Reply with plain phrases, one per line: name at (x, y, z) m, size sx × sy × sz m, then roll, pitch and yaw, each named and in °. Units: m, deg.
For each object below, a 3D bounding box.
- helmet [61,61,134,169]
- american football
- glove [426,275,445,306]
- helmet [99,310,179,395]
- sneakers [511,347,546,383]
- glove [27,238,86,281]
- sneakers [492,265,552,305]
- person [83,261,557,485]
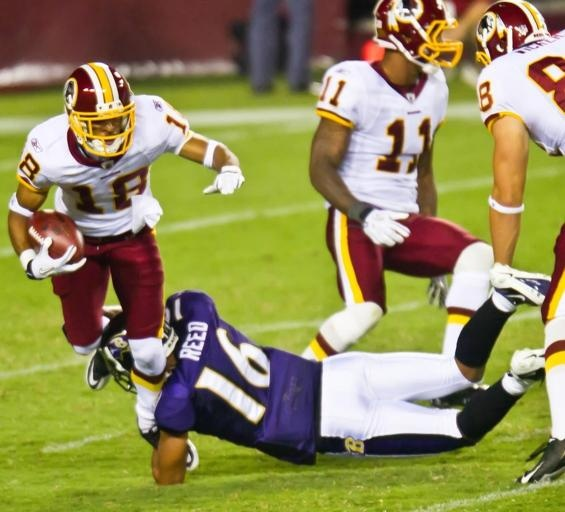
helmet at (-0.710, -0.602, 3.381) m, size 0.246 × 0.298 × 0.350 m, roll -16°, pitch 42°, yaw -32°
american football at (-0.937, -0.088, 3.430) m, size 0.214 × 0.159 × 0.134 m, roll 12°, pitch -11°, yaw 30°
glove at (0.703, 0.163, 3.990) m, size 0.046 × 0.147 × 0.103 m, roll 2°, pitch 17°, yaw 8°
helmet at (-0.623, 0.342, 3.589) m, size 0.305 × 0.318 × 0.269 m, roll 2°, pitch 16°, yaw 16°
sneakers at (0.828, 0.379, 2.879) m, size 0.084 × 0.111 × 0.122 m, roll -30°, pitch 2°, yaw -14°
glove at (-0.868, 0.015, 3.327) m, size 0.224 × 0.160 × 0.122 m, roll -3°, pitch 32°, yaw 5°
sneakers at (0.810, 0.095, 2.949) m, size 0.179 × 0.115 × 0.086 m, roll 18°, pitch 4°, yaw 18°
person at (0.148, 0.468, 3.151) m, size 1.688 × 0.706 × 0.750 m, roll -9°, pitch 19°, yaw 18°
